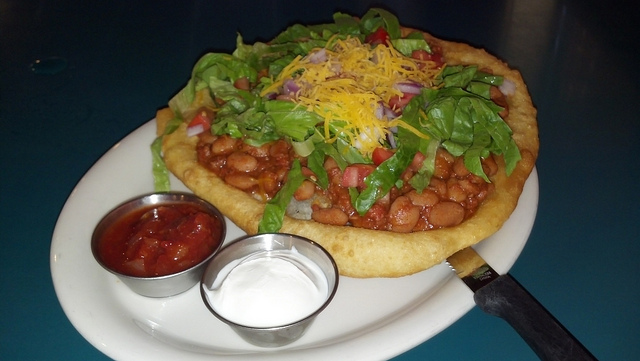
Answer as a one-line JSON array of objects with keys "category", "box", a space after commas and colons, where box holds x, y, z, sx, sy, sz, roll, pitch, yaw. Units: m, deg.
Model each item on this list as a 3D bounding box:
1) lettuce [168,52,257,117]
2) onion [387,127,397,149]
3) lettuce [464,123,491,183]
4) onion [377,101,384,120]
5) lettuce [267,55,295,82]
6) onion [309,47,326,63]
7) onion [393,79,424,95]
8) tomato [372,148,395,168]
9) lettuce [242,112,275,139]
[{"category": "lettuce", "box": [-1.511, -1.234, 6.311, 1.040, 0.788, 0.437, -49, 5, -22]}, {"category": "onion", "box": [0.847, -0.490, 5.425, 0.066, 0.258, 0.039, -9, 19, 43]}, {"category": "lettuce", "box": [1.866, -0.332, 5.439, 0.238, 0.141, 0.768, -4, 60, 45]}, {"category": "onion", "box": [0.705, -0.812, 5.400, 0.140, 0.184, 0.045, 1, -3, -31]}, {"category": "lettuce", "box": [-0.539, -1.451, 5.980, 0.349, 0.299, 0.518, -1, 16, 11]}, {"category": "onion", "box": [-0.006, -1.534, 5.757, 0.181, 0.074, 0.173, -38, 49, -4]}, {"category": "onion", "box": [1.069, -1.115, 5.601, 0.344, 0.169, 0.166, -12, 18, -27]}, {"category": "tomato", "box": [0.718, -0.248, 5.336, 0.225, 0.128, 0.203, -6, 35, 32]}, {"category": "lettuce", "box": [-0.750, -0.685, 5.634, 0.374, 0.330, 0.131, 6, 20, 6]}]
